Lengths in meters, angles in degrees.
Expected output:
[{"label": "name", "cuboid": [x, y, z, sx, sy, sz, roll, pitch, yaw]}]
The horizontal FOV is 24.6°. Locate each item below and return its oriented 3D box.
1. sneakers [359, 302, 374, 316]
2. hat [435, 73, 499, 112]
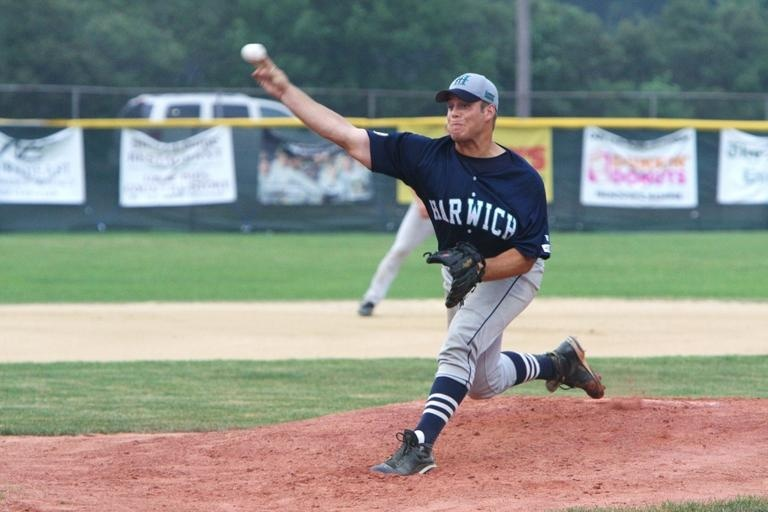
[{"label": "sneakers", "cuboid": [-0.257, 0.743, 24.789, 0.138, 0.225, 0.250, 3, -1, 14]}, {"label": "hat", "cuboid": [1.035, -1.982, 20.925, 0.733, 0.320, 0.505, 8, 0, -30]}]
